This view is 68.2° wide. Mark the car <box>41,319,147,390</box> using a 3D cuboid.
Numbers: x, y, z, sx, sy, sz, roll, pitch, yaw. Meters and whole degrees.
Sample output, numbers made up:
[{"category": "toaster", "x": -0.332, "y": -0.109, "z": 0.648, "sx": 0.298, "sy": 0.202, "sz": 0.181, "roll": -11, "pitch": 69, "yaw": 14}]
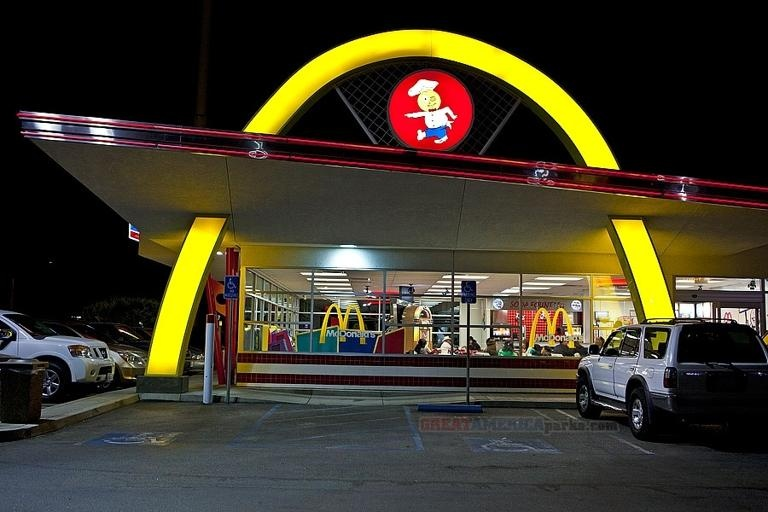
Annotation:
[{"category": "car", "x": -9.155, "y": 3.462, "z": 19.741, "sx": 5.290, "sy": 2.176, "sz": 2.398, "roll": 0, "pitch": -4, "yaw": 13}]

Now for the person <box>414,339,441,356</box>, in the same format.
[{"category": "person", "x": 1.557, "y": 3.358, "z": 20.800, "sx": 0.812, "sy": 0.628, "sz": 0.504, "roll": 0, "pitch": -7, "yaw": -3}]

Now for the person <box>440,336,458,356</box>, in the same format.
[{"category": "person", "x": 2.335, "y": 3.330, "z": 20.819, "sx": 0.532, "sy": 0.900, "sz": 0.692, "roll": 0, "pitch": -8, "yaw": 7}]

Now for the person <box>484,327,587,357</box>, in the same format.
[{"category": "person", "x": 5.753, "y": 3.215, "z": 21.043, "sx": 3.511, "sy": 0.930, "sz": 0.353, "roll": 1, "pitch": -6, "yaw": 0}]
